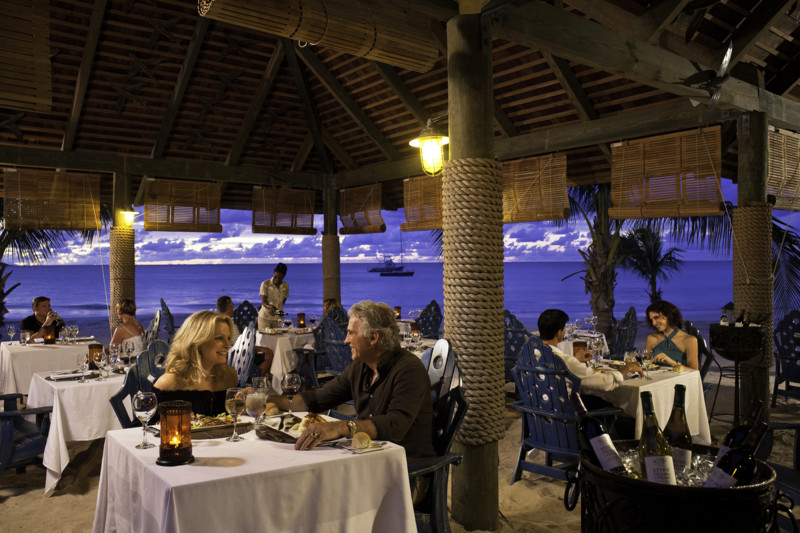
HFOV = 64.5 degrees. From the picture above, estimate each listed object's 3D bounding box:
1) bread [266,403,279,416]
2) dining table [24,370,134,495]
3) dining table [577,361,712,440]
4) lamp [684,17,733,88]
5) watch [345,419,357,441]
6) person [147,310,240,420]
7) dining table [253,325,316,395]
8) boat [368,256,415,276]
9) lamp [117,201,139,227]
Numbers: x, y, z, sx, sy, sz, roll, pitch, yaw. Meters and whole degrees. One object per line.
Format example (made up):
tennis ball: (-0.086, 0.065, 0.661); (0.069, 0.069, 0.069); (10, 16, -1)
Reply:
bread: (-0.891, 0.987, 4.383); (0.073, 0.033, 0.076); (1, -3, 30)
dining table: (-2.974, 1.310, 5.820); (1.092, 0.591, 0.923); (-3, 9, -37)
dining table: (2.344, 1.045, 5.692); (0.966, 0.605, 1.048); (0, -4, 0)
lamp: (3.162, -2.051, 6.470); (0.434, 0.473, 0.958); (-4, -3, 27)
watch: (-0.298, 1.008, 3.947); (0.064, 0.096, 0.090); (2, -18, 2)
person: (-1.564, 0.764, 4.803); (0.418, 0.722, 0.716); (-8, -10, 29)
dining table: (-1.583, 1.240, 8.519); (0.760, 0.404, 0.745); (-4, 5, -42)
boat: (-0.574, 0.146, 46.233); (3.842, 1.811, 1.125); (-2, 2, 2)
lamp: (-4.376, -0.809, 10.182); (0.369, 0.391, 0.356); (0, -3, -5)
